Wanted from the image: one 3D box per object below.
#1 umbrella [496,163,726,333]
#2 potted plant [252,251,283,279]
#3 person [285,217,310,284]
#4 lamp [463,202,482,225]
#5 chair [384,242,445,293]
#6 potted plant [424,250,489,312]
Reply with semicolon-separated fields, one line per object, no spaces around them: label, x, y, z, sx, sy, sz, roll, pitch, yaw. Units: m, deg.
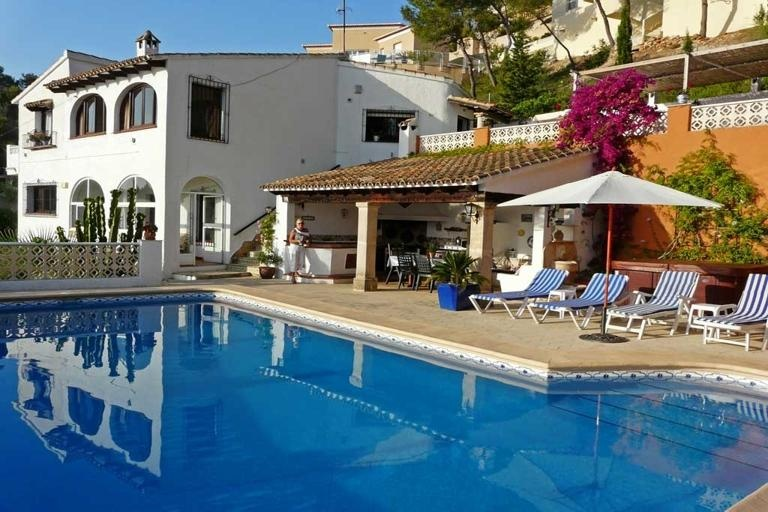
umbrella;5.452;-0.391;16.644;3.720;3.499;3.685;0;11;-5
potted plant;-3.953;0.316;23.702;1.051;1.168;0.794;0;-7;-5
person;-2.926;-0.231;23.040;0.768;1.998;0.850;-11;17;-35
lamp;2.444;-1.218;19.506;0.514;0.807;0.395;5;-3;-6
chair;1.211;0.475;22.311;1.121;1.190;1.636;5;6;41
potted plant;2.035;0.516;18.491;0.939;1.111;0.977;10;-19;10
